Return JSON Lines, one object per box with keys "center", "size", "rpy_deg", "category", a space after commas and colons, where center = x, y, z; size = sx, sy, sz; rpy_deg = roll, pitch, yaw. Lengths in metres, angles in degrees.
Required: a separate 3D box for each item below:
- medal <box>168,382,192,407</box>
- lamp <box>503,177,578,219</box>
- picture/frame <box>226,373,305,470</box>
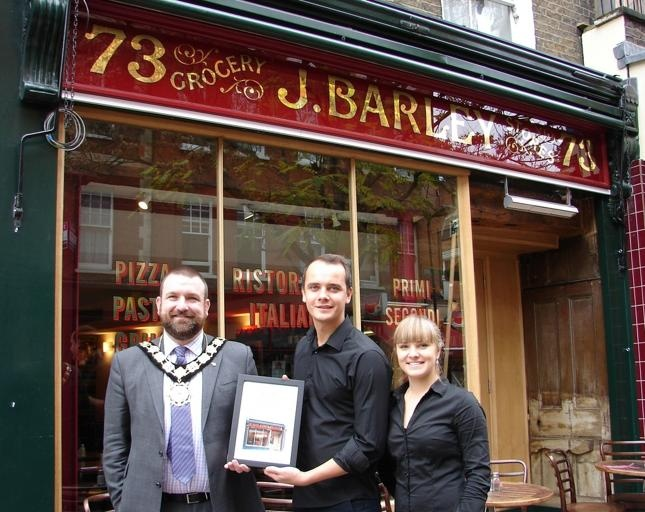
{"center": [-0.843, 0.814, 3.879], "size": [0.153, 0.138, 0.011], "rpy_deg": [-1, -23, -9], "category": "medal"}
{"center": [2.400, -0.603, 7.432], "size": [1.210, 0.367, 0.398], "rpy_deg": [5, -13, -27], "category": "lamp"}
{"center": [-0.326, 0.974, 3.834], "size": [0.553, 0.681, 0.050], "rpy_deg": [6, -24, 0], "category": "picture/frame"}
